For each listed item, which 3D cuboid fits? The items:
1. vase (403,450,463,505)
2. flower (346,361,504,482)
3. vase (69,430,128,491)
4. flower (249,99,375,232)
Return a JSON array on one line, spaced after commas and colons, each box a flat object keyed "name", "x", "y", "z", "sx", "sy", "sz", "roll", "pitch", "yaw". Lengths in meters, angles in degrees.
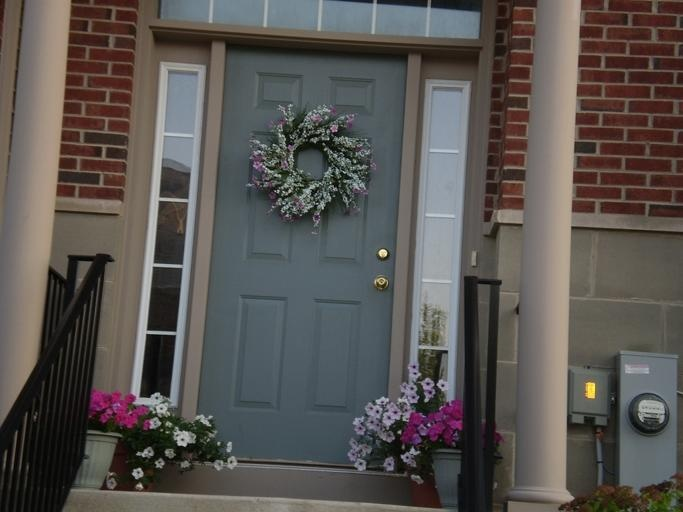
[{"name": "vase", "x": 0.467, "y": 1.126, "z": 5.309, "sx": 0.298, "sy": 0.334, "sz": 0.273, "roll": 2, "pitch": -13, "yaw": 0}, {"name": "flower", "x": 0.357, "y": 0.884, "z": 5.580, "sx": 0.399, "sy": 0.613, "sz": 0.806, "roll": 9, "pitch": -11, "yaw": -36}, {"name": "vase", "x": -1.187, "y": 0.995, "z": 5.105, "sx": 0.235, "sy": 0.199, "sz": 0.247, "roll": 2, "pitch": -12, "yaw": 4}, {"name": "flower", "x": -0.185, "y": -0.549, "z": 5.877, "sx": 0.637, "sy": 0.761, "sz": 0.214, "roll": 6, "pitch": -7, "yaw": 0}]
